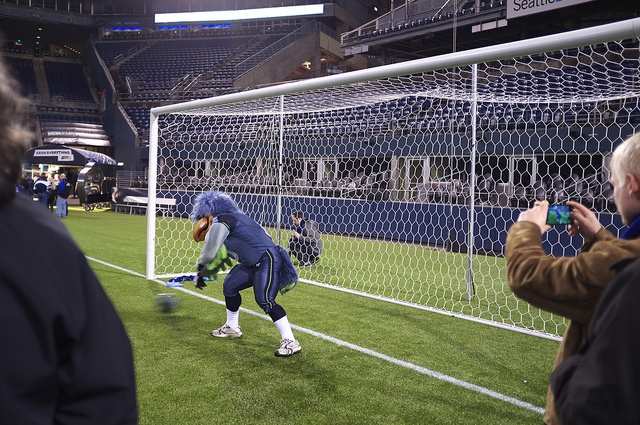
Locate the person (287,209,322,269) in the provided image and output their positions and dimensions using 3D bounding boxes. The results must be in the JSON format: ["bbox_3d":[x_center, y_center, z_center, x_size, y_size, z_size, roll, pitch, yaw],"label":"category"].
[{"bbox_3d":[-0.216,0.423,8.524,0.529,0.910,0.458,-5,2,29],"label":"person"}]

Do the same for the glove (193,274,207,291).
[{"bbox_3d":[-0.926,0.544,4.056,0.052,0.132,0.093,5,18,45],"label":"glove"}]

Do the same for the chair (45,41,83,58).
[{"bbox_3d":[-16.166,-10.304,32.852,2.161,0.723,0.821,-1,-12,-34],"label":"chair"}]

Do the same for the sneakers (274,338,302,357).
[{"bbox_3d":[-0.238,1.038,3.974,0.236,0.117,0.084,5,-10,-41],"label":"sneakers"}]

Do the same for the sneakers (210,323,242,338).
[{"bbox_3d":[-0.788,0.998,4.383,0.245,0.115,0.100,4,-8,-10],"label":"sneakers"}]
